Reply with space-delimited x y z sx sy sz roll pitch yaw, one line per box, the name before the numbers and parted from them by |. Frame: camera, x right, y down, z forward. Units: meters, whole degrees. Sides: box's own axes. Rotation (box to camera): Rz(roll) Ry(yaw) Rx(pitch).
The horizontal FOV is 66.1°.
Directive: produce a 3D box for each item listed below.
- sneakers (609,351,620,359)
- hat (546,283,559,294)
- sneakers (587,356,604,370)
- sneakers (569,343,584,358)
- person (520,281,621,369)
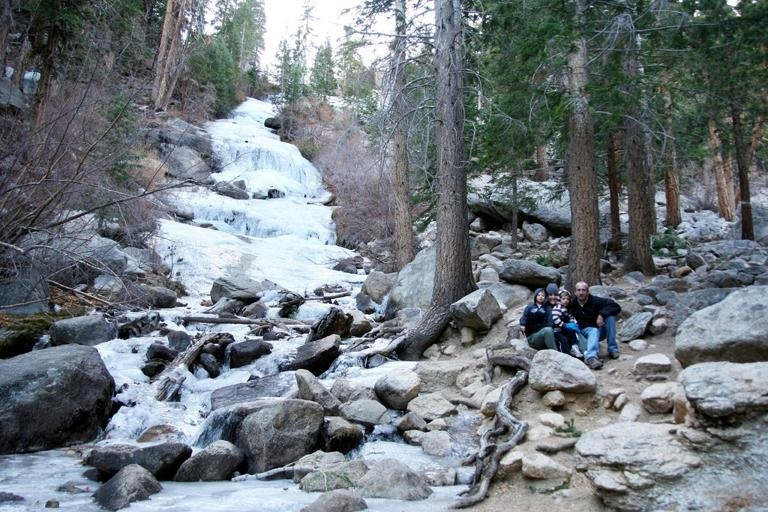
sneakers | 4.821 2.065 12.402 0.222 0.158 0.124 0 -5 18
hat | 3.751 0.720 13.124 0.207 0.236 0.280 -10 -11 5
sneakers | 4.356 2.191 12.112 0.159 0.179 0.396 -19 -17 -14
sneakers | 4.079 1.999 12.520 0.271 0.261 0.140 0 -5 15
person | 4.319 1.408 12.646 1.338 1.728 0.837 1 -5 11
